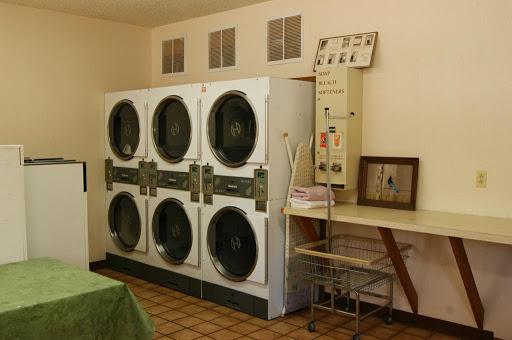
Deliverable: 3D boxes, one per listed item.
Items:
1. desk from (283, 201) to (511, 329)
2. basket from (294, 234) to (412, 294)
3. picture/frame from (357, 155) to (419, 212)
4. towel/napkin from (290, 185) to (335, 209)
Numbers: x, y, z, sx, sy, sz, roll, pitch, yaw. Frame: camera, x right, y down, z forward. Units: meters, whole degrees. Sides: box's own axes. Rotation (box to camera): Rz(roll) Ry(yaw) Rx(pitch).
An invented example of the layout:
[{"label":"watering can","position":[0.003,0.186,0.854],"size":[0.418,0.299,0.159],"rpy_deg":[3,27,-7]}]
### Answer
[{"label":"desk","position":[1.474,0.968,3.725],"size":[1.720,1.190,0.898],"rpy_deg":[8,15,35]},{"label":"basket","position":[0.987,1.018,3.922],"size":[0.881,0.374,0.736],"rpy_deg":[1,5,44]},{"label":"picture/frame","position":[1.443,0.155,3.961],"size":[0.528,0.529,0.044],"rpy_deg":[3,-3,34]},{"label":"towel/napkin","position":[0.559,0.244,3.950],"size":[0.279,0.137,0.301],"rpy_deg":[1,2,42]}]
